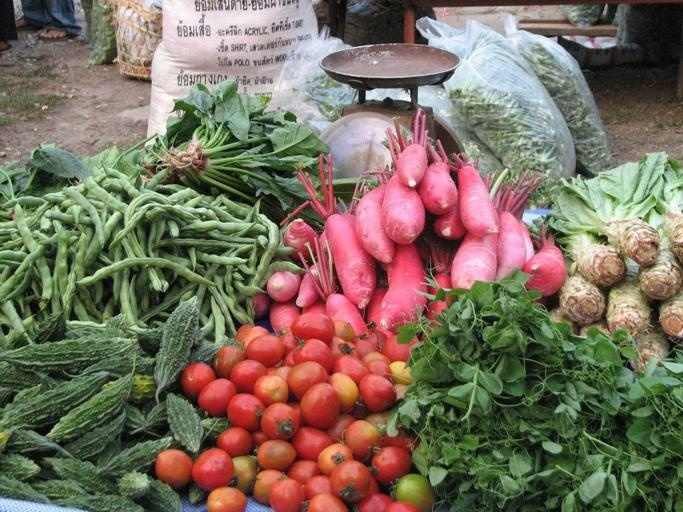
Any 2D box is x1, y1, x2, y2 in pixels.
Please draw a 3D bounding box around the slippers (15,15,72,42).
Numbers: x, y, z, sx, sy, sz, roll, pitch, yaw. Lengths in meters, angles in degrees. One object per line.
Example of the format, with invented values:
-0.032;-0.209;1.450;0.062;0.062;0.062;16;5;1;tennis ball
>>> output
-5.201;-3.917;10.162;1.003;0.256;0.541;14;32;20;slippers
